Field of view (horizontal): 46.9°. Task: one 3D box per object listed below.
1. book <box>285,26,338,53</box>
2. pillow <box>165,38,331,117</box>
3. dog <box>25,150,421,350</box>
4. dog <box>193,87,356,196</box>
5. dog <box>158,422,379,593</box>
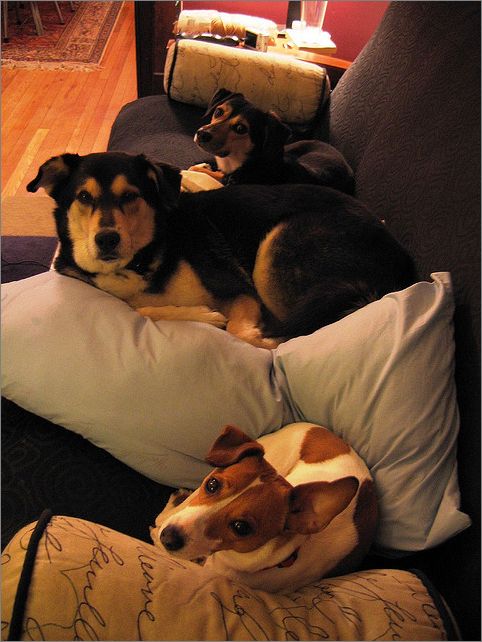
[{"bbox_3d":[0.357,-1.459,2.944,0.234,0.050,0.200,0,43,-11],"label":"book"},{"bbox_3d":[0.041,-1.043,2.375,0.702,0.298,0.229,15,51,11],"label":"pillow"},{"bbox_3d":[-0.042,-0.158,1.323,0.785,0.295,0.521,-5,18,-12],"label":"dog"},{"bbox_3d":[0.071,-0.553,1.833,0.625,0.302,0.298,9,26,-7],"label":"dog"},{"bbox_3d":[0.068,0.317,0.931,0.242,0.219,0.332,34,41,32],"label":"dog"}]
